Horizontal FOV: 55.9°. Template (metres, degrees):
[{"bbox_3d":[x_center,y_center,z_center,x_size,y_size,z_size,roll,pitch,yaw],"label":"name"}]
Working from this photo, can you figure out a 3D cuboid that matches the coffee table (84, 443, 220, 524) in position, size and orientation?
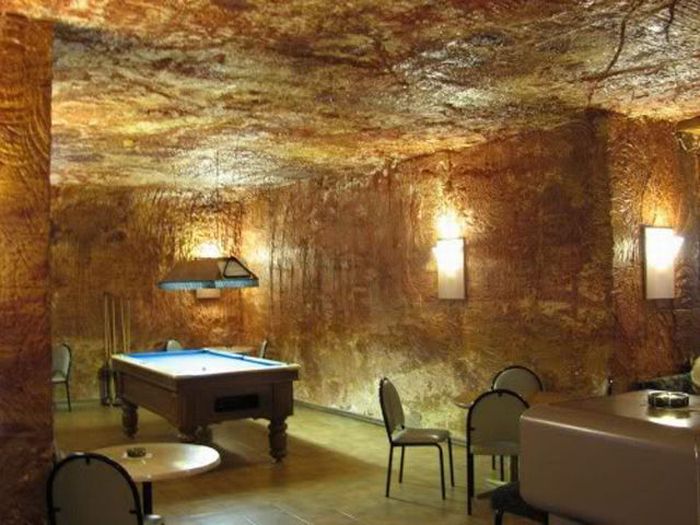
[{"bbox_3d":[-1.233,1.402,4.086,0.565,0.383,0.567,14,5,19],"label":"coffee table"}]

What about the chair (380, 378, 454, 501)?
[{"bbox_3d":[0.596,1.393,5.768,0.615,0.881,1.413,-1,0,7],"label":"chair"}]
